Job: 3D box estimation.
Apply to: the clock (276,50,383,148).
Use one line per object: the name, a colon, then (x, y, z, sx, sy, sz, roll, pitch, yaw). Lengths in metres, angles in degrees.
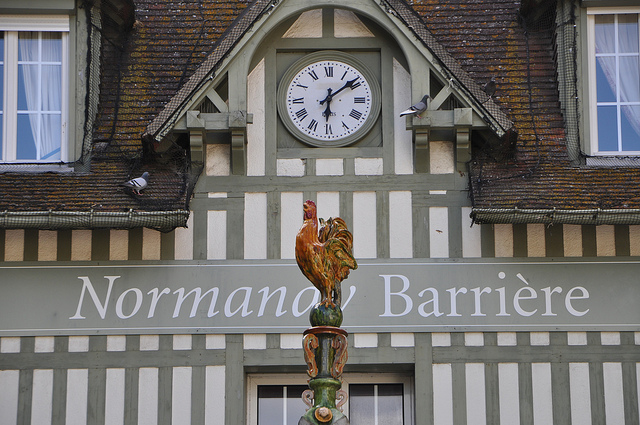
clock: (0.171, -1.727, 34.770, 1.717, 1.557, 0.164, 2, -16, 0)

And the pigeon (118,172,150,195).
pigeon: (-2.924, -0.432, 33.961, 0.438, 0.357, 0.231, 3, -12, -18)

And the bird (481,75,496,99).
bird: (2.778, -1.955, 34.578, 0.151, 0.137, 0.428, 6, -45, -7)

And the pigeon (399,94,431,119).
pigeon: (1.600, -1.682, 34.218, 0.579, 0.380, 0.263, -1, -6, -6)

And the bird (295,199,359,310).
bird: (0.099, 0.631, 30.374, 0.859, 1.571, 0.373, 0, -11, -5)
